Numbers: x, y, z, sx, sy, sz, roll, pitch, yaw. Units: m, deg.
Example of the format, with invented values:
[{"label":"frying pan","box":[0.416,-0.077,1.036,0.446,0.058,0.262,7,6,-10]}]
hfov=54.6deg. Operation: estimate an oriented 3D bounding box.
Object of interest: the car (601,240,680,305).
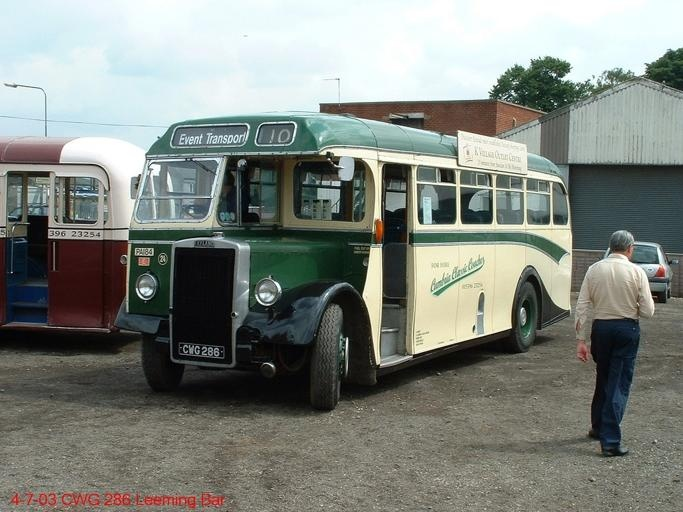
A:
[{"label":"car","box":[6.278,0.356,13.554,1.531,1.183,2.716,0,12,20]}]

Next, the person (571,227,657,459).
[{"label":"person","box":[2.754,0.847,6.773,0.594,2.222,0.553,-1,1,-15]}]

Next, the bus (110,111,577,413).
[{"label":"bus","box":[1.021,-0.205,11.356,3.211,3.590,8.891,1,4,38]}]
